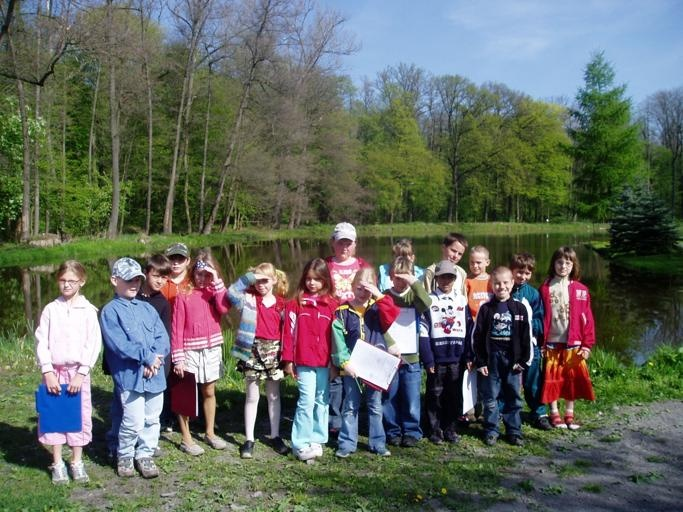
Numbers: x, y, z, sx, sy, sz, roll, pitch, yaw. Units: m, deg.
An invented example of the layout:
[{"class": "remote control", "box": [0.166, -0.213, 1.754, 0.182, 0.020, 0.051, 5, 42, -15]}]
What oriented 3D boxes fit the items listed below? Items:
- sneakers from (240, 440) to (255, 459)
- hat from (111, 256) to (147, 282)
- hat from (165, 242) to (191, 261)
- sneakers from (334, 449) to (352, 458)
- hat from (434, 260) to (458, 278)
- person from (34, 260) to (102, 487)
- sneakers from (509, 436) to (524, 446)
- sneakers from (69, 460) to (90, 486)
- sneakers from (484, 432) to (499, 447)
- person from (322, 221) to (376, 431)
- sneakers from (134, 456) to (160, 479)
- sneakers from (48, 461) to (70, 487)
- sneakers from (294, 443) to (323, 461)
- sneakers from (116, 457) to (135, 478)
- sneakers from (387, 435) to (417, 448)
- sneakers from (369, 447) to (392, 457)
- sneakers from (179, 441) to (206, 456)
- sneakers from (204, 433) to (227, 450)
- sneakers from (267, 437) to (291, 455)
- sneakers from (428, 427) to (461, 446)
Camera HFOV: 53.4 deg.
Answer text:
[{"class": "sneakers", "box": [-1.184, 2.369, 8.421, 0.175, 0.171, 0.222, -2, 14, -8]}, {"class": "hat", "box": [-2.599, 0.141, 8.126, 0.237, 0.199, 0.317, -5, 14, -41]}, {"class": "hat", "box": [-2.204, -0.058, 9.093, 0.275, 0.213, 0.367, -2, 14, -9]}, {"class": "sneakers", "box": [0.023, 2.427, 8.387, 0.211, 0.100, 0.085, 7, -14, -1]}, {"class": "hat", "box": [1.393, 0.152, 8.976, 0.302, 0.191, 0.261, -1, 14, -5]}, {"class": "person", "box": [-3.217, 1.306, 7.908, 0.680, 2.406, 0.881, 1, 13, 1]}, {"class": "sneakers", "box": [2.235, 2.351, 8.684, 0.107, 0.102, 0.154, 5, -6, -6]}, {"class": "sneakers", "box": [-3.039, 2.492, 7.835, 0.123, 0.159, 0.352, 0, -6, -30]}, {"class": "sneakers", "box": [1.915, 2.344, 8.725, 0.082, 0.115, 0.197, 2, -39, -37]}, {"class": "person", "box": [0.058, 0.887, 9.201, 0.524, 2.692, 1.154, 0, 13, 1]}, {"class": "sneakers", "box": [-2.300, 2.470, 8.009, 0.156, 0.169, 0.315, 0, 2, -30]}, {"class": "sneakers", "box": [-3.239, 2.485, 7.782, 0.135, 0.164, 0.299, 1, 6, -32]}, {"class": "sneakers", "box": [-0.402, 2.393, 8.349, 0.283, 0.128, 0.171, -21, 35, -16]}, {"class": "sneakers", "box": [-2.541, 2.452, 7.983, 0.205, 0.201, 0.194, -5, 14, -20]}, {"class": "sneakers", "box": [0.779, 2.356, 8.679, 0.377, 0.097, 0.153, 1, 14, 2]}, {"class": "sneakers", "box": [0.485, 2.405, 8.455, 0.250, 0.125, 0.098, -4, 5, 30]}, {"class": "sneakers", "box": [-1.864, 2.367, 8.444, 0.245, 0.107, 0.137, 2, 0, 30]}, {"class": "sneakers", "box": [-1.605, 2.336, 8.603, 0.138, 0.108, 0.247, 3, 2, -42]}, {"class": "sneakers", "box": [-0.797, 2.376, 8.572, 0.143, 0.135, 0.306, 2, -1, -36]}, {"class": "sneakers", "box": [1.351, 2.330, 8.800, 0.355, 0.181, 0.181, -6, 32, 1]}]
